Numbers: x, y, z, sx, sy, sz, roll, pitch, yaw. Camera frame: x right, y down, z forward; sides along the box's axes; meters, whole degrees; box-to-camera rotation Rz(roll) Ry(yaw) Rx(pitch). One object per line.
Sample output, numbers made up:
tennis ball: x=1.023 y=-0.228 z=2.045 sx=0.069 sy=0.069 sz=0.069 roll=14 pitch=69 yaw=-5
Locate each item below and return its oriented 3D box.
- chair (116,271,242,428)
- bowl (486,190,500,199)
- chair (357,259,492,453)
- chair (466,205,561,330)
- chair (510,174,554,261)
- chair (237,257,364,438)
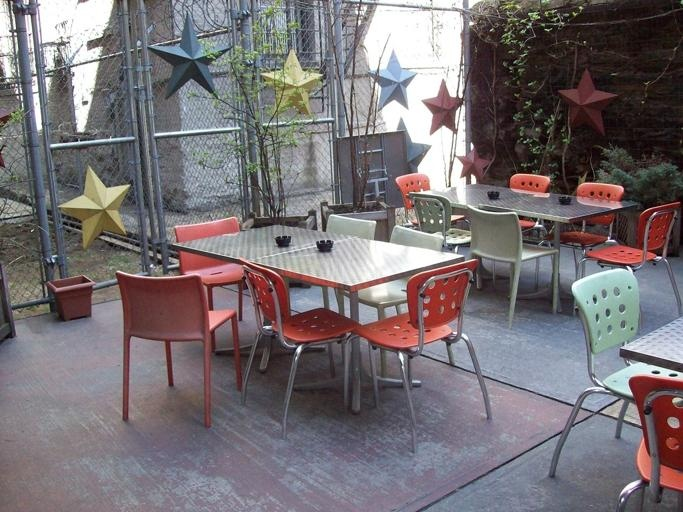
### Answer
chair: x=-1.075 y=0.561 z=3.858 sx=0.601 sy=0.929 sz=0.706 roll=8 pitch=6 yaw=18
bowl: x=1.616 y=-0.650 z=6.012 sx=0.102 sy=0.067 sz=0.107 roll=-1 pitch=3 yaw=0
chair: x=0.549 y=0.550 z=3.641 sx=0.774 sy=1.095 sz=0.697 roll=-12 pitch=16 yaw=-36
chair: x=1.624 y=0.054 z=5.358 sx=0.712 sy=1.108 sz=0.681 roll=-11 pitch=19 yaw=-23
chair: x=2.153 y=-0.482 z=6.580 sx=0.513 sy=0.883 sz=0.589 roll=14 pitch=20 yaw=27
chair: x=-0.285 y=0.572 z=3.791 sx=0.735 sy=1.040 sz=0.638 roll=-11 pitch=17 yaw=-39
